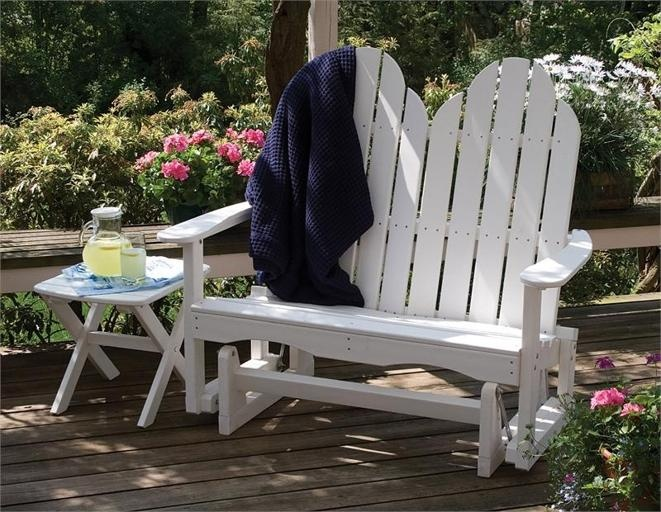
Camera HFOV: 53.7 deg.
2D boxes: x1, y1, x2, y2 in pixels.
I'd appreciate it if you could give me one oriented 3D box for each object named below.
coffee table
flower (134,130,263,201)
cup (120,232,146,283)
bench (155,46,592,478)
[{"bbox_3d":[-0.824,0.334,2.683,0.579,0.506,0.629,0,10,-1],"label":"coffee table"},{"bbox_3d":[-0.699,-0.465,3.584,0.694,0.406,0.625,-2,8,-6],"label":"flower"},{"bbox_3d":[-0.763,0.002,2.526,0.094,0.156,0.197,-6,17,-15],"label":"cup"},{"bbox_3d":[0.205,0.049,2.443,1.465,1.359,0.872,13,29,35],"label":"bench"}]
